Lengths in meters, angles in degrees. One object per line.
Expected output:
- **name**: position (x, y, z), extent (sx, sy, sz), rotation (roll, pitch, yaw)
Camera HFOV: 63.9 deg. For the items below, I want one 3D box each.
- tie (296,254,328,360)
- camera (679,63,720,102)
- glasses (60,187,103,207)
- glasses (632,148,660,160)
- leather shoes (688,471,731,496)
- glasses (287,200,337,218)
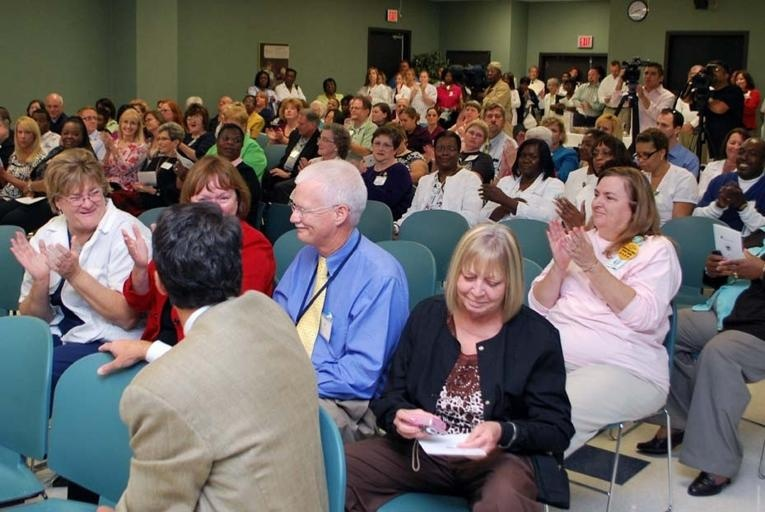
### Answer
- **tie**: position (-0.301, 0.222, 2.743), extent (0.163, 0.414, 0.144), rotation (-9, 15, -41)
- **camera**: position (4.371, -2.370, 8.291), extent (0.384, 0.262, 0.570), rotation (2, 12, -26)
- **glasses**: position (-1.483, -0.297, 3.054), extent (0.183, 0.084, 0.050), rotation (-5, 12, -28)
- **glasses**: position (2.199, -0.858, 5.128), extent (0.161, 0.050, 0.161), rotation (-26, 15, -34)
- **leather shoes**: position (1.667, 1.193, 3.161), extent (0.243, 0.091, 0.092), rotation (-8, 2, -29)
- **glasses**: position (-0.342, -0.209, 2.730), extent (0.258, 0.069, 0.109), rotation (7, 12, 31)
